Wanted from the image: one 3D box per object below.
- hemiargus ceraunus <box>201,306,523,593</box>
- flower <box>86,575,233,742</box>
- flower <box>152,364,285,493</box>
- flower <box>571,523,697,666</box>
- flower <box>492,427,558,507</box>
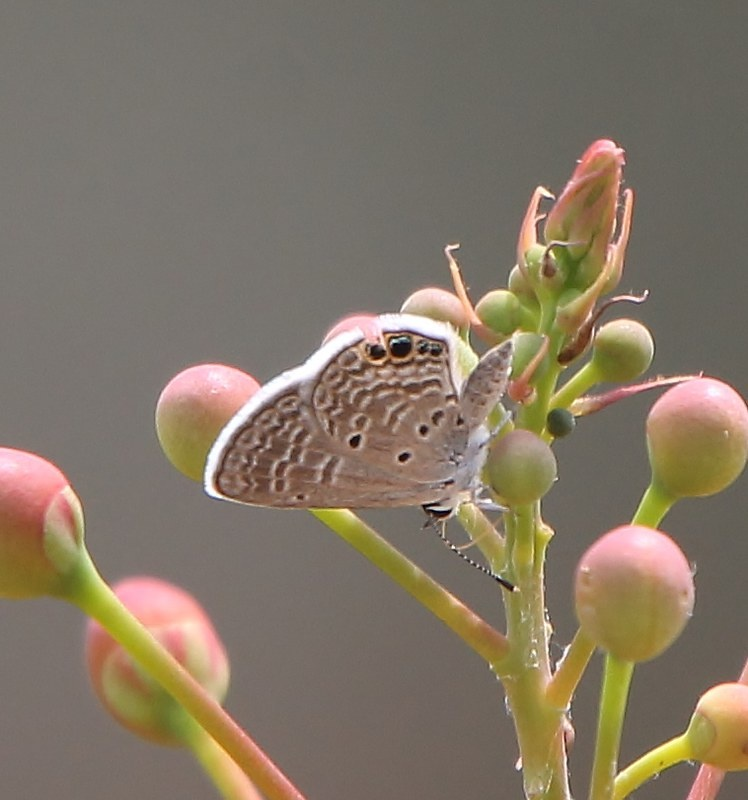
[{"bbox_3d":[0.001,0.021,0.817,0.132,0.137,0.195,7,7,20],"label":"hemiargus ceraunus"},{"bbox_3d":[-0.136,0.168,0.864,0.081,0.098,0.124,-10,43,-2],"label":"flower"},{"bbox_3d":[-0.108,0.016,0.888,0.070,0.077,0.072,1,2,22],"label":"flower"},{"bbox_3d":[0.147,0.109,0.777,0.066,0.066,0.064,3,44,11],"label":"flower"},{"bbox_3d":[0.082,0.038,0.767,0.044,0.041,0.045,5,56,-4],"label":"flower"}]
